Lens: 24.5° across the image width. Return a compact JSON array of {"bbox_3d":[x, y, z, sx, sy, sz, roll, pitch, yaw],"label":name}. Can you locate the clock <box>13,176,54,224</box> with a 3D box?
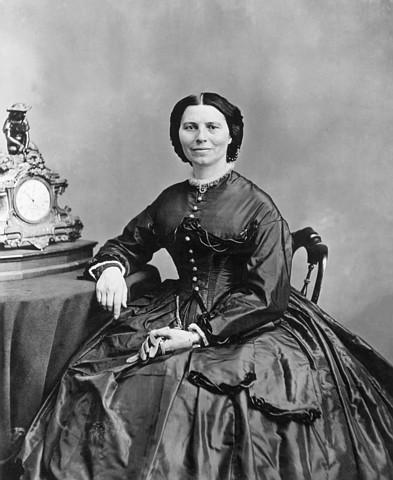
[{"bbox_3d":[-0.624,-0.151,3.413,0.020,0.138,0.148,-6,-40,44],"label":"clock"}]

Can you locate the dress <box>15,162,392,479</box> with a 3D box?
[{"bbox_3d":[0.200,0.314,3.444,1.231,0.839,1.295,0,-4,36],"label":"dress"}]
